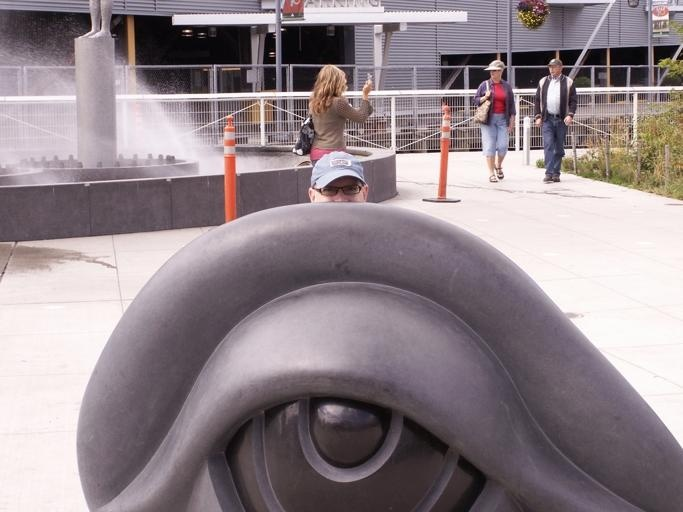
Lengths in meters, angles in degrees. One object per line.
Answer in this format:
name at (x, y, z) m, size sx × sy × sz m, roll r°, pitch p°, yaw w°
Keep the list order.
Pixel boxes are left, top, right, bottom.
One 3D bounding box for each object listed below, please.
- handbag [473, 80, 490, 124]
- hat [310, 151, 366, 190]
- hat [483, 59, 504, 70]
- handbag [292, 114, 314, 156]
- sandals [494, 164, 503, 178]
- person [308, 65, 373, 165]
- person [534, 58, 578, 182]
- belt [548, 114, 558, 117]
handbag at (2.294, -2.459, 12.634) m, size 0.230 × 0.667 × 0.459 m, roll 6°, pitch 13°, yaw 29°
hat at (-0.012, -0.304, 2.838) m, size 0.190 × 0.139 × 0.209 m, roll -1°, pitch 13°, yaw -4°
hat at (2.552, -3.089, 12.790) m, size 0.217 × 0.150 × 0.553 m, roll 1°, pitch 13°, yaw 8°
handbag at (-0.403, -1.388, 8.837) m, size 0.231 × 0.411 × 0.141 m, roll -15°, pitch -3°, yaw 3°
sandals at (2.648, -1.394, 13.116) m, size 0.087 × 0.072 × 0.298 m, roll 5°, pitch 55°, yaw -17°
person at (-0.017, -1.570, 8.718) m, size 0.666 × 1.058 × 0.646 m, roll -1°, pitch 11°, yaw -4°
person at (3.408, -2.118, 12.486) m, size 0.759 × 1.934 × 0.729 m, roll 9°, pitch 14°, yaw 38°
belt at (3.369, -2.210, 12.345) m, size 0.069 × 0.022 × 0.075 m, roll 4°, pitch -11°, yaw -5°
